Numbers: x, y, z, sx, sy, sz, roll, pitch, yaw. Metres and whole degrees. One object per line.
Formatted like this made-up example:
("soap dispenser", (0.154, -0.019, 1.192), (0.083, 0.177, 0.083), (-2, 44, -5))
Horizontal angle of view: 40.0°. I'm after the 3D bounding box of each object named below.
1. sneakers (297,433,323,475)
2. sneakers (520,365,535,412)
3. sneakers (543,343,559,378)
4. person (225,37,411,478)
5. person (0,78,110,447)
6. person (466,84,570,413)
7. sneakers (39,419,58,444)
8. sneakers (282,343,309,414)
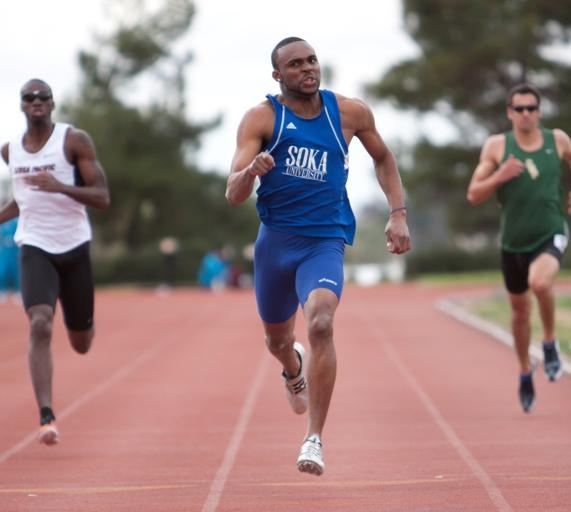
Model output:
("sneakers", (0.116, 0.943, 3.575), (0.108, 0.227, 0.290), (-4, 3, 4))
("sneakers", (1.585, 0.863, 5.116), (0.092, 0.290, 0.110), (3, 0, 43))
("sneakers", (1.676, 0.667, 4.984), (0.079, 0.248, 0.104), (-13, -20, 29))
("person", (0.085, -0.083, 4.004), (0.832, 2.089, 1.197), (-3, 3, 22))
("person", (-1.295, -0.057, 4.516), (0.581, 1.466, 1.124), (-4, 3, -14))
("person", (1.522, -0.041, 4.961), (0.643, 2.147, 0.542), (-3, 3, 14))
("sneakers", (-1.197, 0.908, 3.949), (0.085, 0.096, 0.181), (-5, 3, -20))
("sneakers", (0.087, 0.807, 4.911), (0.150, 0.483, 0.196), (-6, 15, 14))
